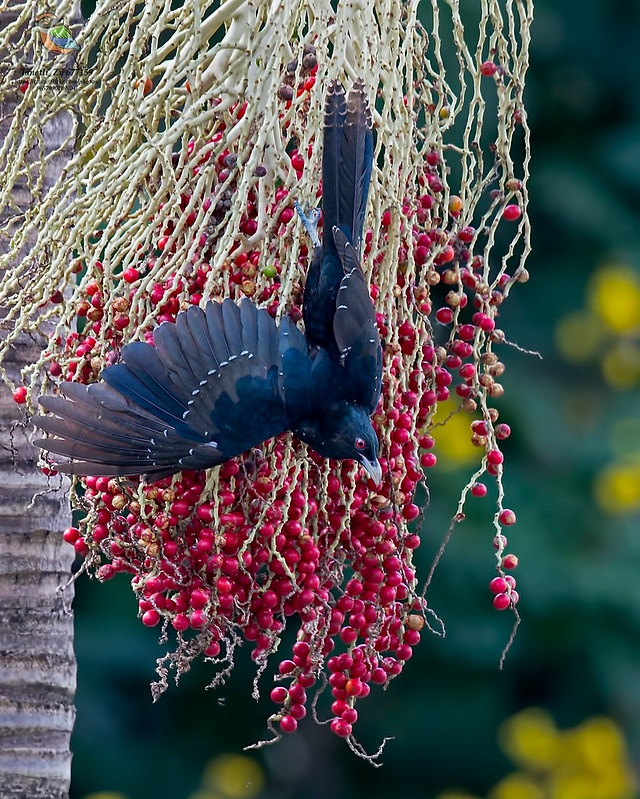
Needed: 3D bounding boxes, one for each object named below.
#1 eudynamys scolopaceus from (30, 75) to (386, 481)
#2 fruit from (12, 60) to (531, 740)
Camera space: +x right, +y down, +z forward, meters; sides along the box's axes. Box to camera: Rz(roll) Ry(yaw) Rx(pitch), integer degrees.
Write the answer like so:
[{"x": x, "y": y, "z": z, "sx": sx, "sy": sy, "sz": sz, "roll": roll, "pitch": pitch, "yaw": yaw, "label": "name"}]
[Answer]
[{"x": -0.220, "y": -0.197, "z": 2.947, "sx": 0.601, "sy": 0.539, "sz": 0.259, "roll": -24, "pitch": 14, "yaw": -18, "label": "eudynamys scolopaceus"}, {"x": -0.100, "y": 0.051, "z": 3.242, "sx": 0.957, "sy": 0.970, "sz": 0.410, "roll": 1, "pitch": -8, "yaw": -5, "label": "fruit"}]
